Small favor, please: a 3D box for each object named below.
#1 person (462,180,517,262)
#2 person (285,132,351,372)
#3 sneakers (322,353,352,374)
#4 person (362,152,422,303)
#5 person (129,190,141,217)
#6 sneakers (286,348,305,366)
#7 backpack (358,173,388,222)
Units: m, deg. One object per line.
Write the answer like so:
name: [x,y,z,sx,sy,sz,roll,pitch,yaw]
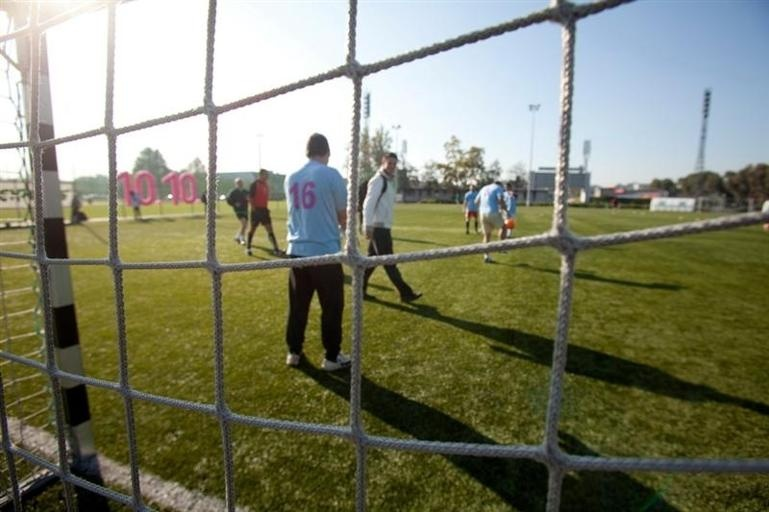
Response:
person: [1.880,-0.630,8.917,0.515,1.410,1.399,1,8,11]
person: [-0.583,-0.020,4.473,0.704,2.086,0.455,4,9,31]
sneakers: [-0.415,0.956,4.691,0.267,0.123,0.118,-8,10,-35]
person: [0.062,-0.341,6.208,0.667,1.824,1.457,0,8,1]
person: [-8.782,-1.887,18.293,0.290,1.063,1.592,-4,9,-27]
sneakers: [-0.816,0.928,4.713,0.098,0.182,0.078,9,21,-6]
backpack: [-0.245,-0.897,6.914,0.401,0.523,0.559,-2,9,-31]
